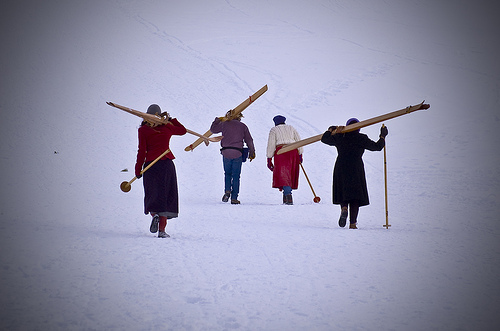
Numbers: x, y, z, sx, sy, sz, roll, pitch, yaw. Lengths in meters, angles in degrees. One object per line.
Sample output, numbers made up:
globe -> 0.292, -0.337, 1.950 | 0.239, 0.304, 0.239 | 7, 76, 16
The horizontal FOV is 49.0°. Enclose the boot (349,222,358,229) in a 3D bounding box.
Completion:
boot -> 1.586, 0.929, 8.419 | 0.093, 0.125, 0.073 | 5, -10, -36

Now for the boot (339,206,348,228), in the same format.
boot -> 1.433, 0.800, 8.417 | 0.109, 0.300, 0.130 | 7, -5, -13

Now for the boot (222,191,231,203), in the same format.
boot -> -0.424, 0.600, 10.182 | 0.118, 0.182, 0.058 | 22, -1, -9

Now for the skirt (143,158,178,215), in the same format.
skirt -> -1.238, 0.283, 7.628 | 0.502, 0.772, 0.167 | 4, -4, -12

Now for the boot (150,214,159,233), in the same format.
boot -> -1.304, 0.814, 7.571 | 0.104, 0.244, 0.104 | 10, -10, -8

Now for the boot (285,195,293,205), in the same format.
boot -> 0.725, 0.647, 10.149 | 0.180, 0.184, 0.141 | 1, -3, -6

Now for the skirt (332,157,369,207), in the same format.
skirt -> 1.558, 0.304, 8.790 | 0.782, 1.174, 0.666 | -1, -5, 13

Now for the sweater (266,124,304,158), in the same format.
sweater -> 0.680, -0.441, 10.551 | 0.782, 0.702, 0.405 | -7, 5, -23

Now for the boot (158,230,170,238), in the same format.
boot -> -1.172, 0.971, 7.562 | 0.181, 0.121, 0.065 | 1, -6, -7

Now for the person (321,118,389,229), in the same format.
person -> 1.568, 0.178, 8.531 | 0.988, 1.607, 0.417 | 3, -4, 11
